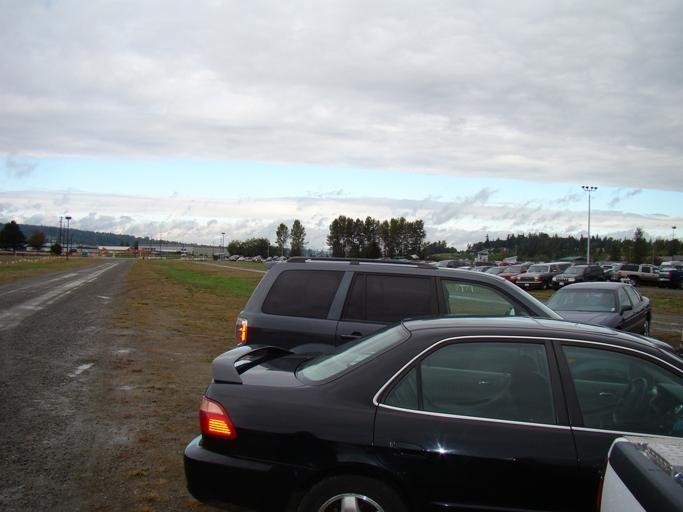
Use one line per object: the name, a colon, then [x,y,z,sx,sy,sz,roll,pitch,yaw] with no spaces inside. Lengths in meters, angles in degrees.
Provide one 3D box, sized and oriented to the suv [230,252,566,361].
suv: [0.399,0.555,5.498,3.183,1.126,1.389,-1,-1,5]
